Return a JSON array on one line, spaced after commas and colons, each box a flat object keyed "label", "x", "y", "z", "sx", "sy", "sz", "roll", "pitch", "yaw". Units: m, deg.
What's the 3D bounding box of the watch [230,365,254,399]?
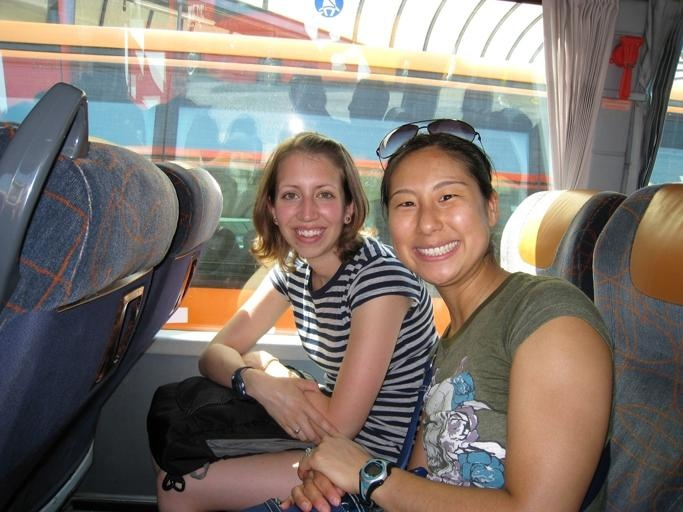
[{"label": "watch", "x": -0.357, "y": 0.444, "z": 1.695, "sx": 0.067, "sy": 0.106, "sz": 0.093, "roll": -9, "pitch": -9, "yaw": 40}]

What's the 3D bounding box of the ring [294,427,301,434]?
[{"label": "ring", "x": -0.143, "y": 0.563, "z": 1.569, "sx": 0.026, "sy": 0.025, "sz": 0.006, "roll": 1, "pitch": -2, "yaw": 1}]

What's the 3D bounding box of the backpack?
[{"label": "backpack", "x": -0.385, "y": 0.549, "z": 1.568, "sx": 0.384, "sy": 0.130, "sz": 0.318, "roll": 5, "pitch": 19, "yaw": -21}]
